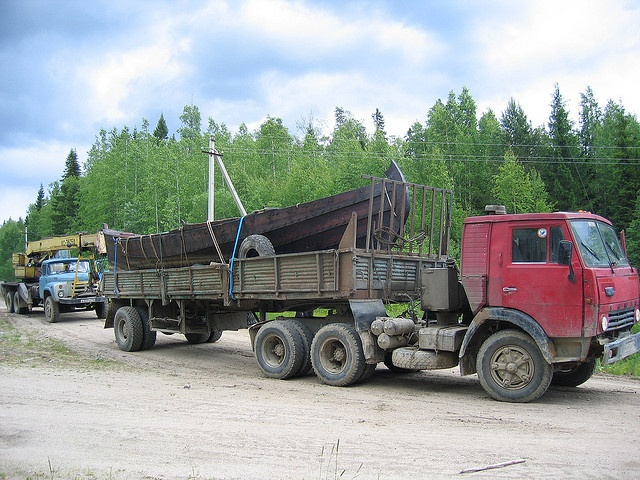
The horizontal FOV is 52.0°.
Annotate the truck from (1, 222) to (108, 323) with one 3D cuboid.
[{"bbox_3d":[-10.730,1.501,27.856,2.812,4.142,8.963,1,-4,-36],"label":"truck"}]
